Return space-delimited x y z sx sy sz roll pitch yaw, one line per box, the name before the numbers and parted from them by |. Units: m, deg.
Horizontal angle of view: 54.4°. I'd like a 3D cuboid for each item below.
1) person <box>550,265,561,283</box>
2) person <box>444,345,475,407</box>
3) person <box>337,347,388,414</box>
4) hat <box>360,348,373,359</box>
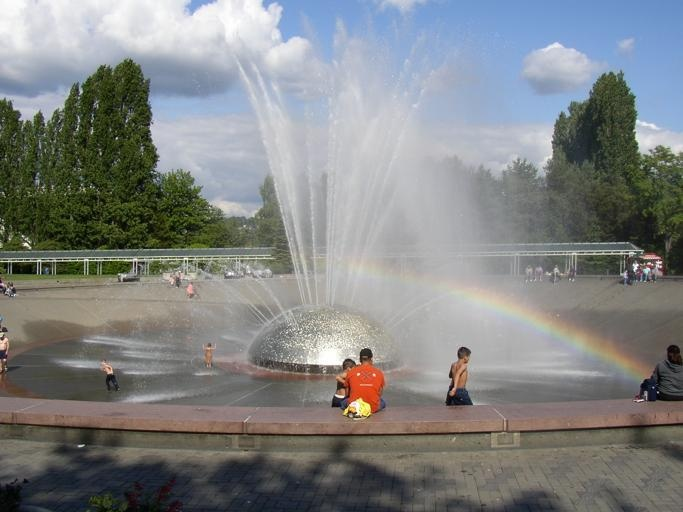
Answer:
person | 15.280 1.237 47.237 0.881 1.113 1.955 -1 -5 23
person | 1.998 2.063 11.325 0.434 0.991 0.625 -2 5 8
person | 0.404 2.095 11.200 0.915 0.991 0.864 6 -7 -14
hat | 0.479 1.627 11.161 0.218 0.160 0.352 2 -3 8
